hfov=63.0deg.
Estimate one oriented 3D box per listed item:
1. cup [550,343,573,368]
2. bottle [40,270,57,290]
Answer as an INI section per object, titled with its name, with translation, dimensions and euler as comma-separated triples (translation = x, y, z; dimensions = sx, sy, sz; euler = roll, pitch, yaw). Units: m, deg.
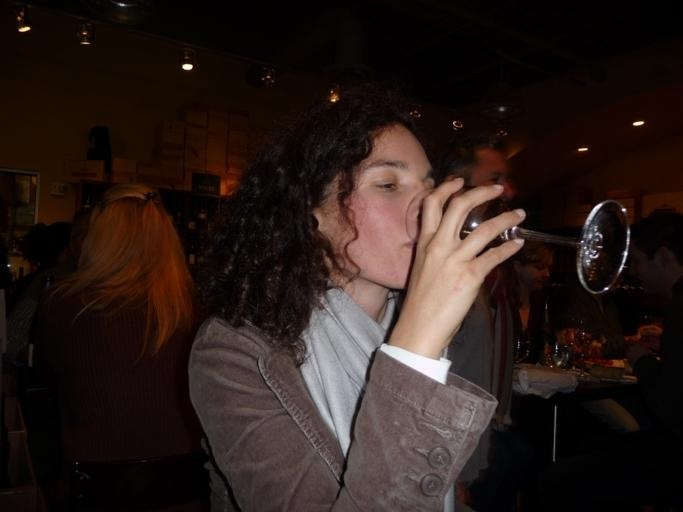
[cup]
translation = 1.544, 0.703, 3.935
dimensions = 0.133, 0.179, 0.165
euler = 7, 2, 36
[bottle]
translation = -1.953, 0.160, 3.698
dimensions = 0.113, 0.126, 0.116
euler = -1, -2, 35
